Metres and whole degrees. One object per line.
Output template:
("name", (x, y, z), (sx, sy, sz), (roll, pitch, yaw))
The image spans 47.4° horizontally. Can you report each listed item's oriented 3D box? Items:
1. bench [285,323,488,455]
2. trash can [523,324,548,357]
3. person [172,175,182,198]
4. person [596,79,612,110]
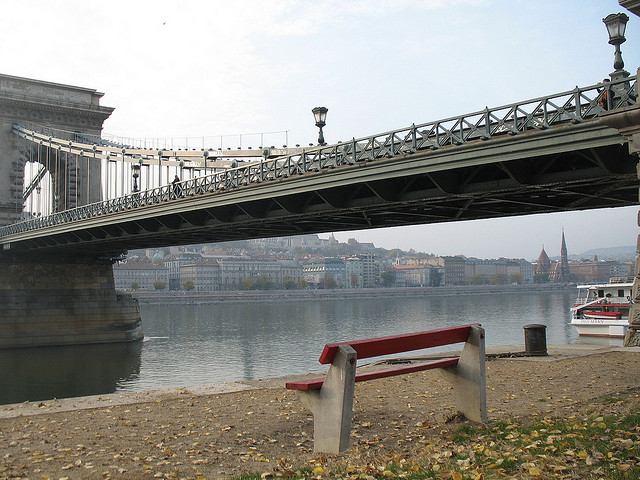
("bench", (1.551, 2.716, 14.295), (4.158, 1.961, 1.430), (-3, 2, -35))
("trash can", (7.022, 3.290, 23.908), (0.783, 1.064, 0.718), (-2, -2, -9))
("person", (-6.576, -2.352, 33.579), (0.435, 0.822, 1.044), (-1, -4, -11))
("person", (7.242, -3.791, 18.671), (0.396, 0.877, 0.970), (-4, -4, 21))
